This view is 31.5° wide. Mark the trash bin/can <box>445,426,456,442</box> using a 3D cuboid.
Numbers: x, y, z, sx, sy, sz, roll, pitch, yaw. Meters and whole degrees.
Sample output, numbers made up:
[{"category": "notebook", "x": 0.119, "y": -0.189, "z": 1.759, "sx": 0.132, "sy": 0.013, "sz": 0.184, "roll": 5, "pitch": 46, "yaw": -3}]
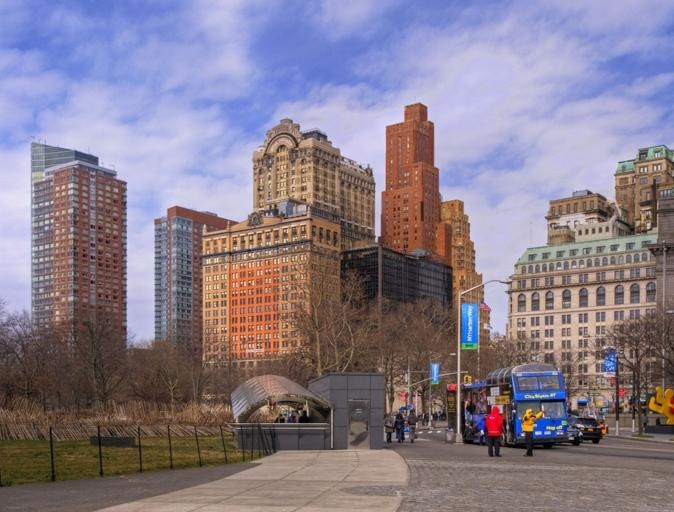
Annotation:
[{"category": "trash bin/can", "x": 9.597, "y": 15.235, "z": 101.392, "sx": 0.839, "sy": 1.178, "sz": 0.857, "roll": -5, "pitch": -20, "yaw": 17}]

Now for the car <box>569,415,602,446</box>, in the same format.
[{"category": "car", "x": 21.943, "y": 15.177, "z": 105.714, "sx": 2.316, "sy": 2.643, "sz": 5.880, "roll": -5, "pitch": -13, "yaw": 18}]
